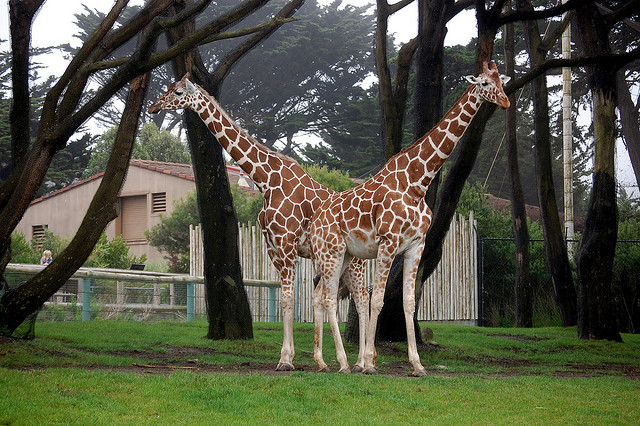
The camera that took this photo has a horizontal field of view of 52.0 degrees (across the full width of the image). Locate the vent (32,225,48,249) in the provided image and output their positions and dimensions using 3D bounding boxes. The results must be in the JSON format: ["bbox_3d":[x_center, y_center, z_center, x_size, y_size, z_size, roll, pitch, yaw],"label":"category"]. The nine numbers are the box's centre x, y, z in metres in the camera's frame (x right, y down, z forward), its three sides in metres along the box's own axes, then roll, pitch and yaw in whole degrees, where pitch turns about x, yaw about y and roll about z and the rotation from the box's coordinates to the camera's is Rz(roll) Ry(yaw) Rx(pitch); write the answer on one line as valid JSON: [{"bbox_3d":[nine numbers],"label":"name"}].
[{"bbox_3d":[-12.796,1.094,29.892,0.640,1.439,0.724,0,2,5],"label":"vent"}]

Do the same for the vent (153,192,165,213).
[{"bbox_3d":[-8.179,-0.535,33.260,0.848,0.895,0.219,0,-6,30],"label":"vent"}]
